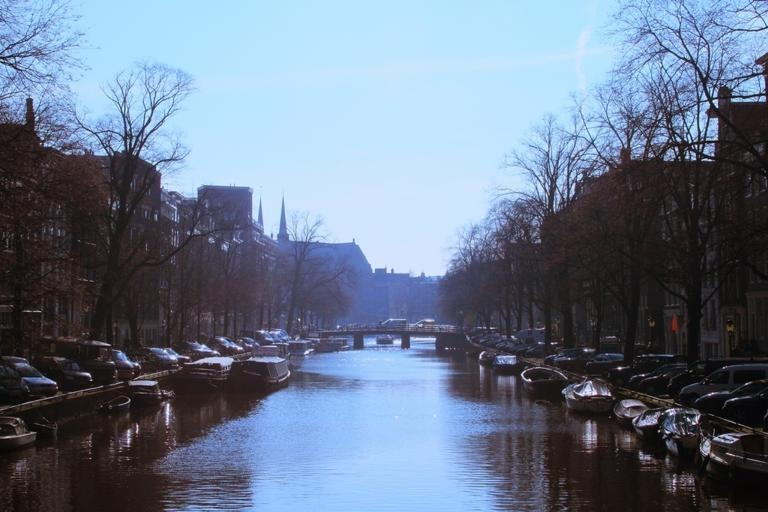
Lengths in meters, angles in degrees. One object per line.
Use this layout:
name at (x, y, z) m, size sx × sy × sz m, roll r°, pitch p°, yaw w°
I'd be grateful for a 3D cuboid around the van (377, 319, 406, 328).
van at (2.384, 17.143, 240.788) m, size 4.551 × 1.638 × 3.345 m, roll -1°, pitch -6°, yaw 5°

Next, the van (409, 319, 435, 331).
van at (8.124, 14.907, 208.242) m, size 3.597 × 1.890 × 2.276 m, roll 3°, pitch -6°, yaw -3°

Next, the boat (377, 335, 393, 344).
boat at (0.190, 15.656, 180.879) m, size 2.153 × 1.666 × 4.117 m, roll 1°, pitch -1°, yaw 3°
